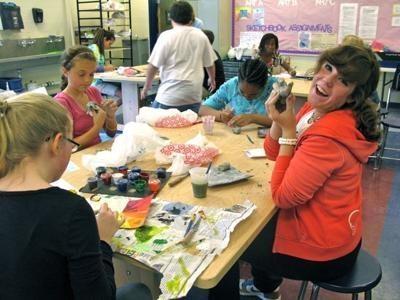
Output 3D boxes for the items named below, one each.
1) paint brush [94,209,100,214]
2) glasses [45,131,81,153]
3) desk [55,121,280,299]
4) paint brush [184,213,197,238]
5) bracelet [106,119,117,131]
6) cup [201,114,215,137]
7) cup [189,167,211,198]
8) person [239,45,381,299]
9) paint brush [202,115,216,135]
[{"bbox_3d":[-0.457,0.270,1.336,0.017,0.013,0.017,1,6,-2],"label":"paint brush"},{"bbox_3d":[-0.521,-0.027,1.156,0.110,0.113,0.032,22,46,1],"label":"glasses"},{"bbox_3d":[-0.016,0.200,1.731,0.860,0.297,1.293,12,30,25],"label":"desk"},{"bbox_3d":[-0.038,0.326,1.327,0.023,0.111,0.018,39,-15,-26],"label":"paint brush"},{"bbox_3d":[-0.761,-0.213,2.625,0.085,0.081,0.083,2,30,-5],"label":"bracelet"},{"bbox_3d":[0.109,-0.189,2.445,0.130,0.161,0.131,-1,16,0],"label":"cup"},{"bbox_3d":[0.003,0.172,1.659,0.141,0.155,0.134,-3,12,1],"label":"cup"},{"bbox_3d":[0.580,0.239,1.599,0.647,1.500,0.380,1,15,7],"label":"person"},{"bbox_3d":[0.088,-0.194,2.445,0.125,0.149,0.123,1,16,5],"label":"paint brush"}]
